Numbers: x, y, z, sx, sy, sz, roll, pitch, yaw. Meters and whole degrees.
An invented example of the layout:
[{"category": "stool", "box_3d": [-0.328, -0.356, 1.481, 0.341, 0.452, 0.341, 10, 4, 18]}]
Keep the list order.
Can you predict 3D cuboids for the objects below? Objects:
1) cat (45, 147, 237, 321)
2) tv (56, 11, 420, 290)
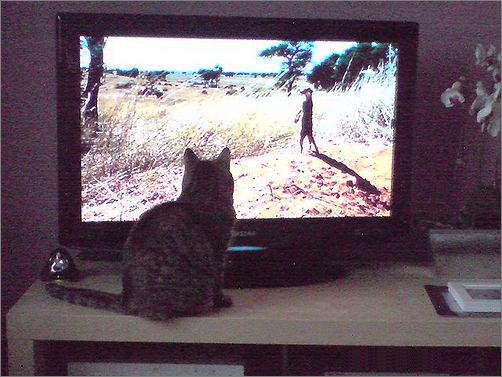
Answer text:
[{"category": "cat", "box_3d": [-0.308, 0.131, 2.021, 0.578, 0.478, 0.800, 9, 16, 41]}, {"category": "tv", "box_3d": [-0.076, -0.164, 1.854, 1.628, 0.665, 0.350, -1, 5, -2]}]
